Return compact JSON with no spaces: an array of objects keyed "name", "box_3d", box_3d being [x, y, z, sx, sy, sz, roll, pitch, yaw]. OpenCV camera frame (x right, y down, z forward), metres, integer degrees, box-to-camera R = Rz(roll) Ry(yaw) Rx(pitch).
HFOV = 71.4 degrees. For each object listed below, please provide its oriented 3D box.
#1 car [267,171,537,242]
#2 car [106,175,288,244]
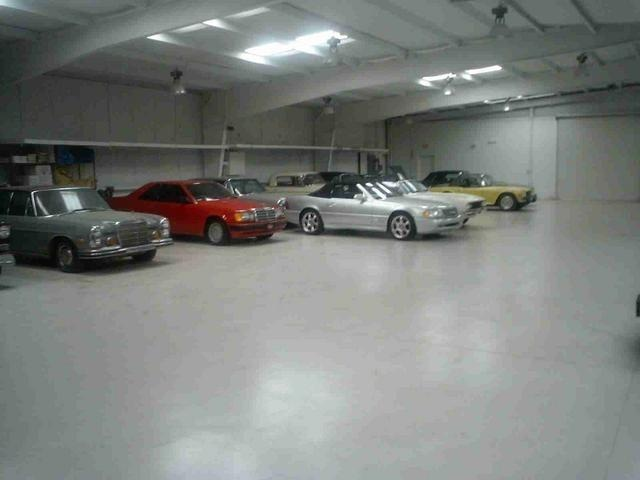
[{"name":"car","box_3d":[1.493,-0.954,12.247,5.047,1.499,3.114,1,9,11]},{"name":"car","box_3d":[-3.028,-0.603,10.865,3.887,1.300,1.802,4,8,27]}]
